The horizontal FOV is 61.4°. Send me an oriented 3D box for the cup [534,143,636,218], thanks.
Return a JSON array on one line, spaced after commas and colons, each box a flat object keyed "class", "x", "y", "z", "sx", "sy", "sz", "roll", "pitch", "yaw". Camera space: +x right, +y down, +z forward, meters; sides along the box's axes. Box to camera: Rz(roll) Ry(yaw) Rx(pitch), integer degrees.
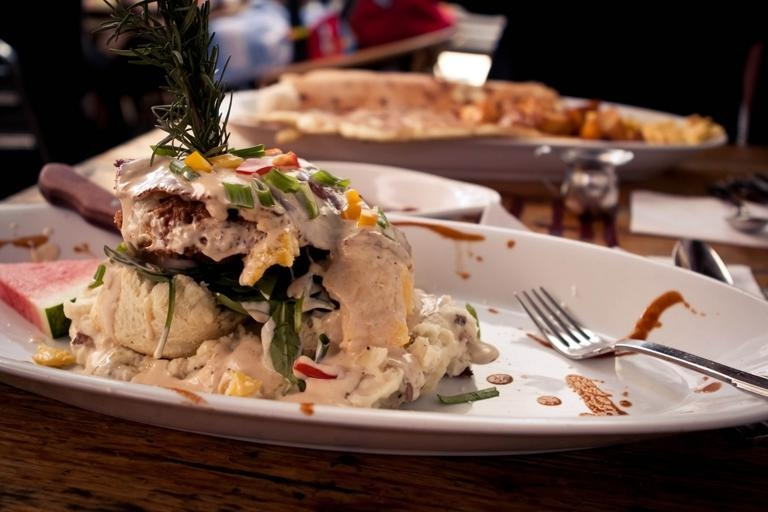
[{"class": "cup", "x": 0.991, "y": -0.370, "z": 3.317, "sx": 0.506, "sy": 0.278, "sz": 0.507, "roll": 0, "pitch": 9, "yaw": 0}]
